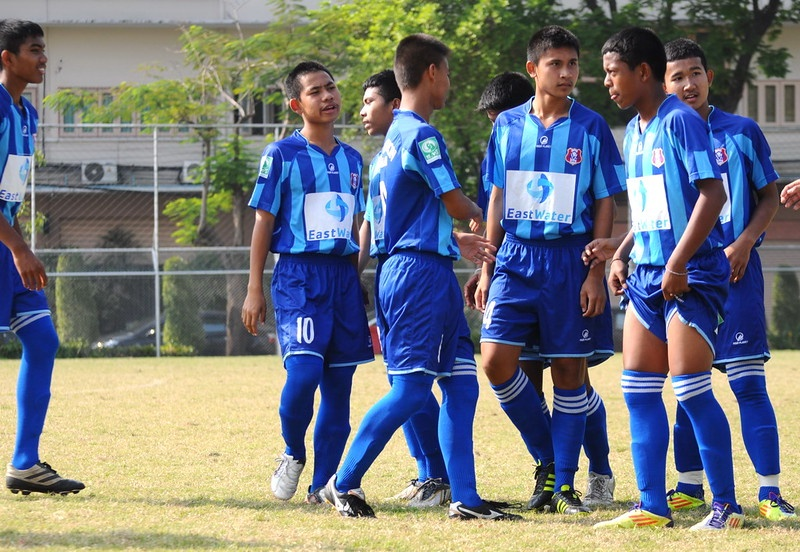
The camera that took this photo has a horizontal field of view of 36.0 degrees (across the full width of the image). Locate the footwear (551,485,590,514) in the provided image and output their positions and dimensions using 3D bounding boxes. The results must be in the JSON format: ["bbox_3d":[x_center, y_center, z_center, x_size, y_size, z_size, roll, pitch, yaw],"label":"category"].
[{"bbox_3d":[1.296,1.752,9.564,0.139,0.165,0.363,3,-9,-28],"label":"footwear"}]

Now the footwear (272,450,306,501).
[{"bbox_3d":[-0.884,1.587,9.684,0.159,0.200,0.467,25,22,-26],"label":"footwear"}]

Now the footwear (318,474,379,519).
[{"bbox_3d":[-0.386,1.679,9.319,0.495,0.196,0.189,32,9,10],"label":"footwear"}]

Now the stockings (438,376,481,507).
[{"bbox_3d":[0.451,1.238,9.351,0.310,0.955,0.359,-1,2,1],"label":"stockings"}]

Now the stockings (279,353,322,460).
[{"bbox_3d":[-0.773,1.040,9.708,0.345,0.865,0.257,-1,2,-4],"label":"stockings"}]

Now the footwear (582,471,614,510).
[{"bbox_3d":[1.574,1.706,9.721,0.183,0.199,0.509,-1,-8,16],"label":"footwear"}]

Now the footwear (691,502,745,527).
[{"bbox_3d":[2.342,1.763,9.061,0.473,0.168,0.172,-2,3,-20],"label":"footwear"}]

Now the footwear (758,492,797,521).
[{"bbox_3d":[2.837,1.756,9.342,0.155,0.105,0.249,1,-7,-12],"label":"footwear"}]

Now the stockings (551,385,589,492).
[{"bbox_3d":[1.325,1.262,9.602,0.276,0.816,0.233,0,2,6],"label":"stockings"}]

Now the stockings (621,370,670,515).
[{"bbox_3d":[1.831,1.240,9.165,0.335,1.057,0.265,0,3,10],"label":"stockings"}]

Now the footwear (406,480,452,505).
[{"bbox_3d":[0.256,1.711,9.734,0.412,0.164,0.139,1,-3,-40],"label":"footwear"}]

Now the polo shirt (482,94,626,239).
[{"bbox_3d":[1.181,-0.835,9.695,1.523,1.340,0.676,1,-5,14],"label":"polo shirt"}]
